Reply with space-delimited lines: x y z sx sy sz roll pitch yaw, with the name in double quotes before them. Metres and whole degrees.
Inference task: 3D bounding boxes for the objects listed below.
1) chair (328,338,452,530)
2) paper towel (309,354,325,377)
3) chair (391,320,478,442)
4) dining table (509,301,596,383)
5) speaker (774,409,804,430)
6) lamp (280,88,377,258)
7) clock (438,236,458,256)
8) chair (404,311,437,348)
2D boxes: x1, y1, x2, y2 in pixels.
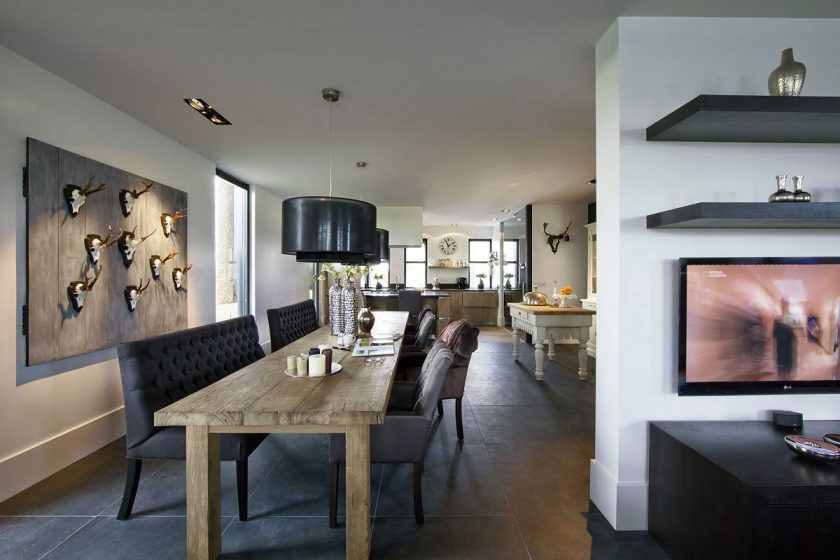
"chair" -0.207 1.184 4.314 0.834 1.152 0.853 0 -9 1
"paper towel" -0.733 0.611 4.106 0.121 0.133 0.136 0 -5 7
"chair" 0.205 0.751 4.771 0.936 1.169 0.940 0 -5 1
"dining table" 1.636 0.692 7.526 0.738 0.739 1.707 -1 1 0
"speaker" 2.444 0.925 3.841 0.120 0.073 0.151 -1 -2 3
"lamp" -0.691 -0.834 4.463 0.764 1.297 0.749 2 -1 -22
"clock" 0.609 -0.787 13.188 0.442 0.440 0.025 1 0 -3
"chair" 0.034 0.514 6.072 0.399 0.515 0.364 0 3 0
